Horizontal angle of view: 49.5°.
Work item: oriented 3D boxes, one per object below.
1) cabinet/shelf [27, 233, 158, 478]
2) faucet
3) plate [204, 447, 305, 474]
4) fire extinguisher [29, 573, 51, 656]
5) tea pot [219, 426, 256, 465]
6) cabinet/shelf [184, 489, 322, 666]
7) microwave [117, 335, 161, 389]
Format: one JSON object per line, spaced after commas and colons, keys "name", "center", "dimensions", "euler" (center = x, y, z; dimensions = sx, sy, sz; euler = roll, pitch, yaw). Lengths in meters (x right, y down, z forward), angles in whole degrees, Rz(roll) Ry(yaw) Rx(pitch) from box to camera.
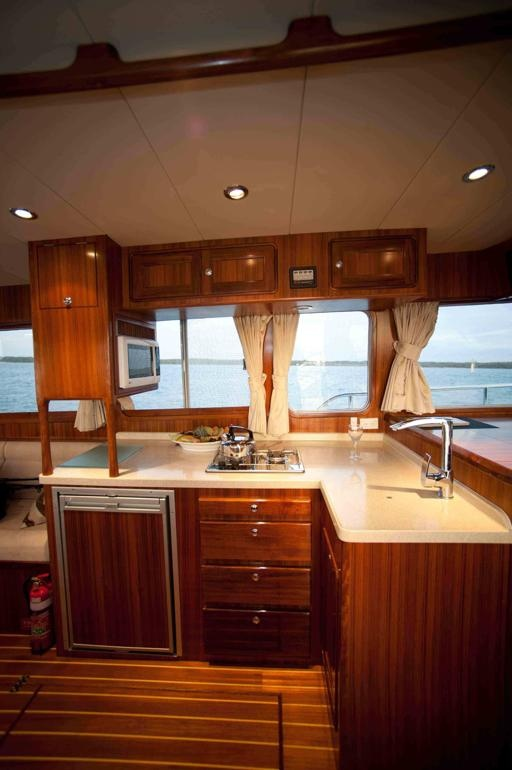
{"name": "cabinet/shelf", "center": [-0.794, -0.128, 2.536], "dimensions": [0.386, 1.048, 0.318], "euler": [-2, 7, 10]}
{"name": "faucet", "center": [0.682, 0.240, 2.223], "dimensions": [0.198, 0.316, 0.579], "euler": [0, 8, 22]}
{"name": "plate", "center": [0.005, 0.337, 2.627], "dimensions": [0.437, 0.062, 0.469], "euler": [-3, 7, 4]}
{"name": "fire extinguisher", "center": [-0.976, 1.059, 2.548], "dimensions": [0.059, 0.343, 0.102], "euler": [1, 8, 31]}
{"name": "tea pot", "center": [-0.089, 0.305, 2.714], "dimensions": [0.122, 0.141, 0.198], "euler": [2, -13, -1]}
{"name": "cabinet/shelf", "center": [0.014, 0.852, 2.643], "dimensions": [0.611, 0.941, 0.661], "euler": [-1, -4, 5]}
{"name": "microwave", "center": [-0.574, -0.107, 2.721], "dimensions": [0.188, 0.210, 0.318], "euler": [-2, 1, 1]}
